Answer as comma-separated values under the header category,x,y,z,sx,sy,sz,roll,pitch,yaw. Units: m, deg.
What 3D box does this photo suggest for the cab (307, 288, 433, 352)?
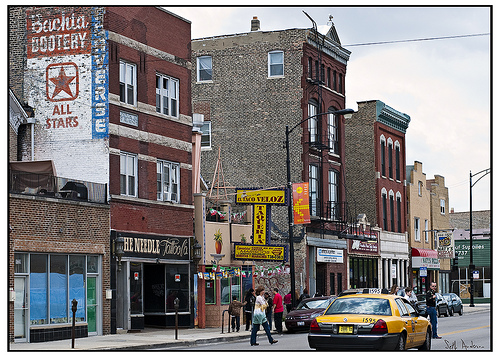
category,x,y,z,sx,sy,sz,roll,pitch,yaw
cab,4.675,5.351,36.146,4.694,2.251,2.242,6,-15,-31

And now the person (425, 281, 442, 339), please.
category,x,y,z,sx,sy,sz,roll,pitch,yaw
person,8.105,5.807,43.219,0.863,2.494,0.597,-5,-6,25
